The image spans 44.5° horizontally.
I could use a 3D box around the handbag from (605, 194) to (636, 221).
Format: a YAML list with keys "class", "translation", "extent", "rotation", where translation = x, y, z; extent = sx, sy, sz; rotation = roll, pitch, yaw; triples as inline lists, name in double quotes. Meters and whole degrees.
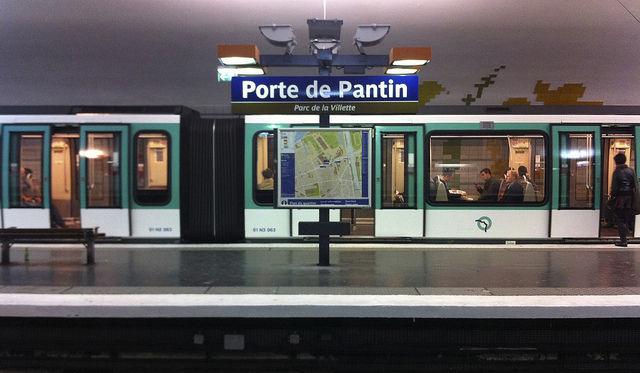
- class: "handbag"
  translation: [9.285, 0.624, 24.024]
  extent: [0.700, 0.823, 0.489]
  rotation: [-1, -1, -4]

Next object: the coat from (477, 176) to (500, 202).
- class: "coat"
  translation: [5.218, 0.067, 24.773]
  extent: [0.785, 0.912, 0.788]
  rotation: [5, 0, 20]

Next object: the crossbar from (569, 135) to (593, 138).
- class: "crossbar"
  translation: [8.195, -1.608, 24.705]
  extent: [0.612, 0.076, 0.062]
  rotation: [-1, -1, -5]

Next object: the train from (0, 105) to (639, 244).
- class: "train"
  translation: [-0.106, -0.496, 25.379]
  extent: [19.679, 4.704, 2.389]
  rotation: [-1, -1, 2]

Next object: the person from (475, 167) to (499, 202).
- class: "person"
  translation: [5.359, 0.046, 24.834]
  extent: [0.686, 1.193, 0.631]
  rotation: [3, 17, 18]

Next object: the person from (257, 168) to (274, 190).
- class: "person"
  translation: [-1.726, -0.230, 24.445]
  extent: [0.776, 0.629, 0.410]
  rotation: [1, 6, 3]

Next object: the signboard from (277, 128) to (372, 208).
- class: "signboard"
  translation: [0.061, -0.516, 21.821]
  extent: [3.398, 2.393, 0.239]
  rotation: [-2, 2, -35]

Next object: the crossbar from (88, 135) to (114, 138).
- class: "crossbar"
  translation: [-7.004, -1.617, 24.776]
  extent: [0.782, 0.087, 0.054]
  rotation: [-1, -1, 6]
